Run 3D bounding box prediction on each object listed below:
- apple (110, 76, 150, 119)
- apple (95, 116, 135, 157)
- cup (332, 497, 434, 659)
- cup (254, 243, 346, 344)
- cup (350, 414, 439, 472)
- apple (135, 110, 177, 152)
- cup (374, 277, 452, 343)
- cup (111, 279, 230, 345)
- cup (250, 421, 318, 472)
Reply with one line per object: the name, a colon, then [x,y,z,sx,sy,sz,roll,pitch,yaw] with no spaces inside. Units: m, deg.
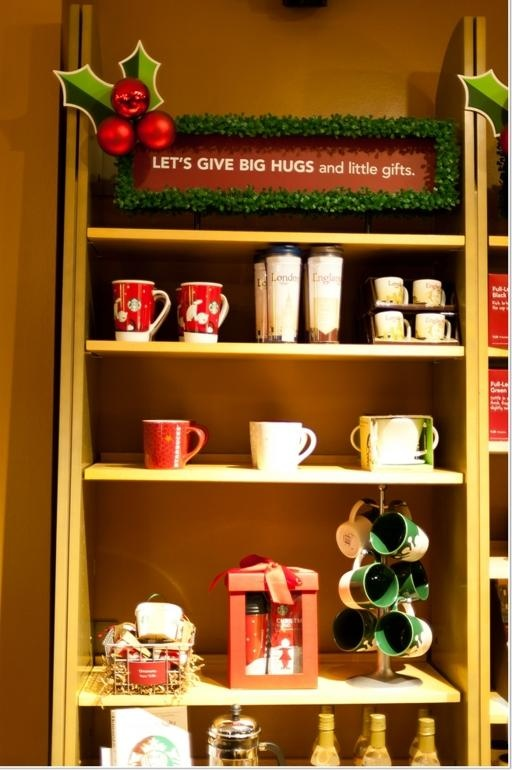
apple: [-0.222,-0.501,1.240,0.062,0.080,0.064,0,4,-13]
apple: [-0.245,-0.434,1.242,0.059,0.076,0.061,2,1,-8]
cup: [0.237,0.396,1.349,0.173,0.348,0.255,-2,2,12]
cup: [0.056,-0.145,1.371,0.194,0.241,0.159,0,-4,-3]
cup: [0.269,0.107,1.331,0.124,0.078,0.094,-1,-3,-4]
apple: [-0.176,-0.447,1.247,0.061,0.078,0.063,-3,9,-35]
cup: [0.287,-0.140,1.331,0.160,0.130,0.092,2,-10,-22]
cup: [-0.156,-0.134,1.326,0.199,0.084,0.162,-2,2,5]
cup: [0.049,0.109,1.314,0.111,0.089,0.083,-3,2,-19]
